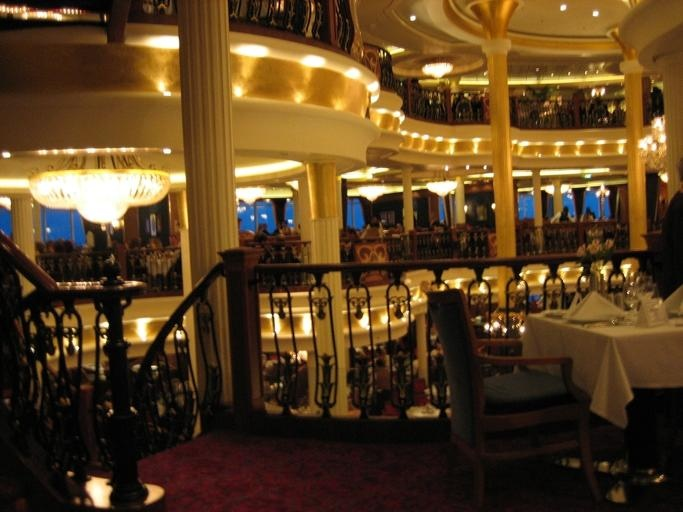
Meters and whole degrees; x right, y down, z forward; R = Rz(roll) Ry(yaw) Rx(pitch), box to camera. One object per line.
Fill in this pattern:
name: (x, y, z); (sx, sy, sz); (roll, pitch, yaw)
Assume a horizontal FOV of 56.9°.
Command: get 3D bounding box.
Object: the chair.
chair: (1.030, 0.796, 4.710); (1.154, 1.901, 1.204); (-5, 2, -5)
